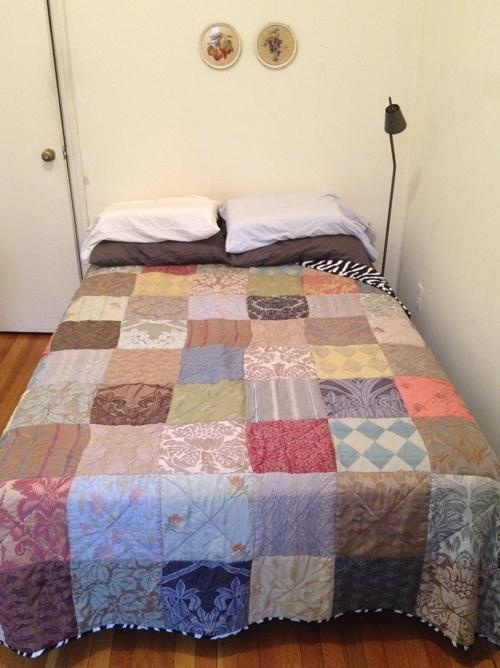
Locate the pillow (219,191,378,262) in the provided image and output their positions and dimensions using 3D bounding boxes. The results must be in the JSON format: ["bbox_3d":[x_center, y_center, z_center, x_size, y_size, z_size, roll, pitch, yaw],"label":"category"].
[{"bbox_3d":[0.185,-0.500,2.387,0.466,0.104,0.408,-3,31,-6],"label":"pillow"}]

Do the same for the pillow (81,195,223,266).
[{"bbox_3d":[-0.432,-0.488,2.412,0.409,0.097,0.398,-2,36,0],"label":"pillow"}]
